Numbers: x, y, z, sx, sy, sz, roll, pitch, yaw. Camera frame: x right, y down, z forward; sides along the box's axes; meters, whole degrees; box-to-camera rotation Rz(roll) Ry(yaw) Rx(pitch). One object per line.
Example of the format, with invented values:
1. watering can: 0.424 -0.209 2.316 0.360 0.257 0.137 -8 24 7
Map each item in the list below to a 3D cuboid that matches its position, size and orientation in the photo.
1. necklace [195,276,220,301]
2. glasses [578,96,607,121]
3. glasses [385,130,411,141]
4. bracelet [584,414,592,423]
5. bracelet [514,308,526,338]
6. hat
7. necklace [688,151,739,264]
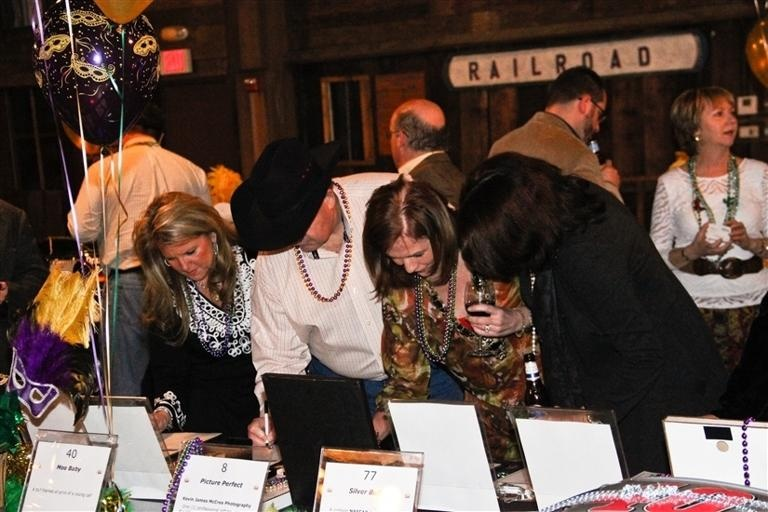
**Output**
1. necklace: -0.802 0.163 3.900 0.095 0.129 0.034 -26 6 39
2. glasses: 1.058 -0.760 4.384 0.033 0.108 0.104 -38 5 -24
3. glasses: 0.096 -0.682 4.798 0.086 0.027 0.091 4 -19 17
4. bracelet: 0.667 0.536 2.787 0.019 0.026 0.007 -3 2 12
5. bracelet: 0.529 0.265 3.359 0.029 0.078 0.059 3 -4 -4
6. hat: -0.370 -0.234 3.252 0.418 0.348 0.222 -4 2 -12
7. necklace: 1.657 -0.239 4.217 0.292 0.484 0.100 -2 -6 12
